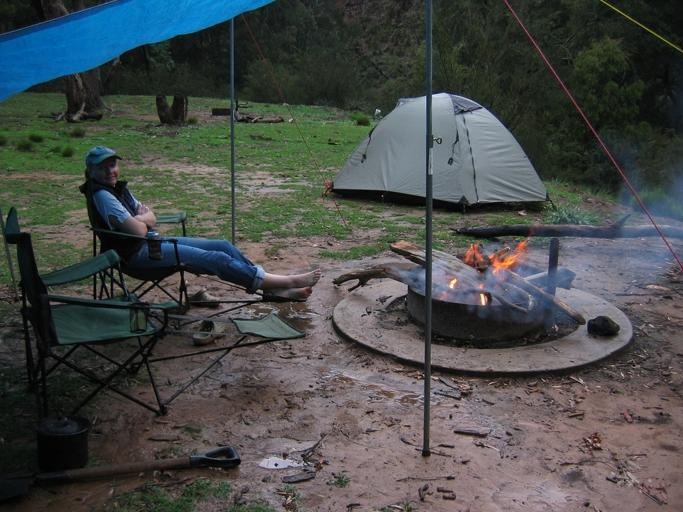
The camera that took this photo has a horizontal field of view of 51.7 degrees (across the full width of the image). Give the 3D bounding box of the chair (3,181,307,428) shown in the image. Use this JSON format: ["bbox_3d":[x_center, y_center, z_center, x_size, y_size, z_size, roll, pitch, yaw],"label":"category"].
[{"bbox_3d":[-1.756,0.346,6.233,2.158,1.686,1.705,-5,20,-23],"label":"chair"}]

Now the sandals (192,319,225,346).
[{"bbox_3d":[-1.335,0.717,6.934,0.313,0.112,0.369,6,17,8],"label":"sandals"}]

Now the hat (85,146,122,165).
[{"bbox_3d":[-2.382,-0.978,6.792,0.382,0.132,0.229,-5,16,5],"label":"hat"}]

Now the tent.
[{"bbox_3d":[2.183,-1.929,13.465,3.640,1.321,2.643,4,11,17],"label":"tent"}]
